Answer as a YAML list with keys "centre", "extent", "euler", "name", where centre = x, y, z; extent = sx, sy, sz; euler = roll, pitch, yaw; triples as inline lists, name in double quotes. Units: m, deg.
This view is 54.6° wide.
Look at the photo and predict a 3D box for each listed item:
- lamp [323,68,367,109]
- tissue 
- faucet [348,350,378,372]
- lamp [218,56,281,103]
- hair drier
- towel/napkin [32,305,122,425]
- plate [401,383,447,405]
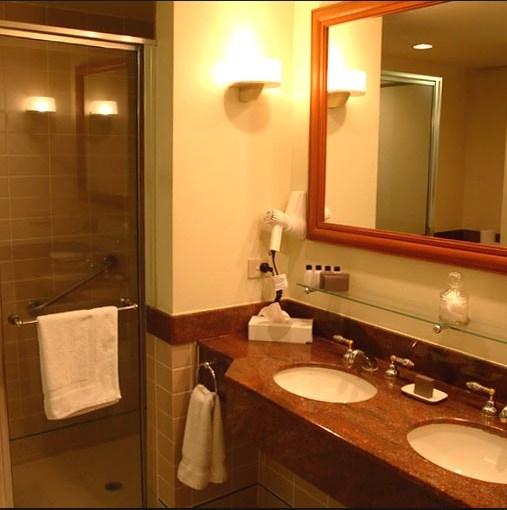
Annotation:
- centre: [0.359, -0.636, 1.905]
  extent: [0.137, 0.151, 0.119]
  euler: [20, 24, 41]
  name: "lamp"
- centre: [0.116, 0.275, 2.071]
  extent: [0.274, 0.174, 0.164]
  euler: [1, 10, 6]
  name: "tissue "
- centre: [0.402, 0.397, 1.822]
  extent: [0.042, 0.056, 0.131]
  euler: [-7, 19, -21]
  name: "faucet"
- centre: [-0.005, -0.690, 1.929]
  extent: [0.233, 0.162, 0.164]
  euler: [-6, 11, -32]
  name: "lamp"
- centre: [0.136, -0.146, 2.112]
  extent: [0.184, 0.250, 0.093]
  euler: [-6, 11, -33]
  name: "hair drier"
- centre: [-0.682, 0.427, 1.944]
  extent: [0.300, 0.435, 0.071]
  euler: [-11, 14, -41]
  name: "towel/napkin"
- centre: [0.538, 0.426, 1.550]
  extent: [0.117, 0.033, 0.141]
  euler: [-8, 13, -38]
  name: "plate"
